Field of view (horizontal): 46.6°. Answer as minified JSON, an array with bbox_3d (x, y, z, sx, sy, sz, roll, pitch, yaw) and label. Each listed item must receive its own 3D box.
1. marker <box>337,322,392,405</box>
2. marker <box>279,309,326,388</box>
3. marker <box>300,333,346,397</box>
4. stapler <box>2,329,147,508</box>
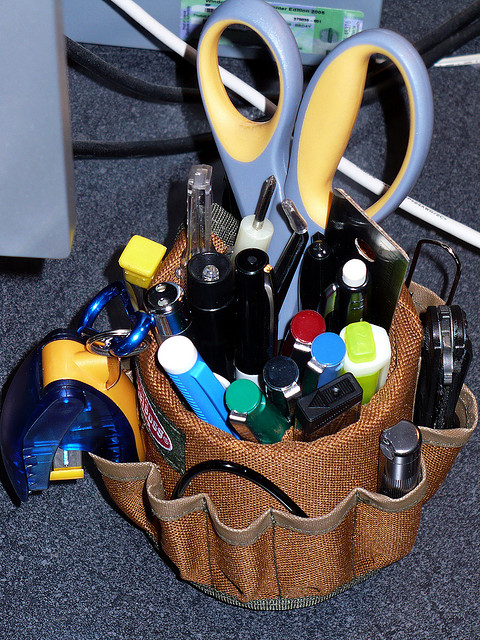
[{"bbox_3d":[0.066,0.019,0.292,0.021,0.042,0.024,-18,48,-22],"label":"marker"},{"bbox_3d":[0.034,0.015,0.346,0.026,0.040,0.026,22,41,14],"label":"marker"},{"bbox_3d":[0.043,0.022,0.287,0.022,0.033,0.025,25,44,26],"label":"marker"},{"bbox_3d":[-0.090,0.037,0.385,0.120,0.127,0.083,-7,53,-15],"label":"stapler"}]
